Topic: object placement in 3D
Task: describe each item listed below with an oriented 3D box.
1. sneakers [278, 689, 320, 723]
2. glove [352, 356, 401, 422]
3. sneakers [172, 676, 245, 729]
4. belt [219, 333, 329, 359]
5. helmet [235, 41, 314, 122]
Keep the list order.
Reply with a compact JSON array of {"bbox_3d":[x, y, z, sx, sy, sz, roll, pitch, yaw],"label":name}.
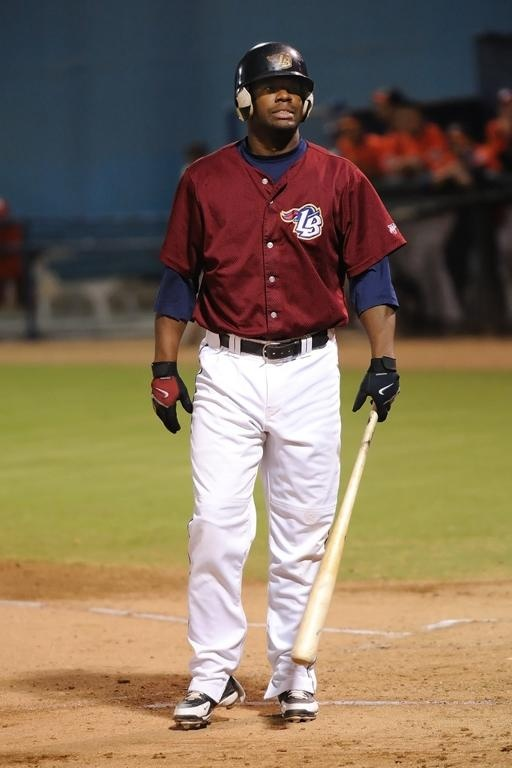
[{"bbox_3d":[0.099,0.739,2.336,0.055,0.060,0.135,0,-19,-2],"label":"sneakers"},{"bbox_3d":[0.292,0.016,2.413,0.082,0.139,0.124,8,20,-15],"label":"glove"},{"bbox_3d":[-0.114,0.733,2.351,0.072,0.081,0.187,0,0,29],"label":"sneakers"},{"bbox_3d":[0.040,-0.086,2.321,0.247,0.061,0.071,0,10,-3],"label":"belt"},{"bbox_3d":[0.030,-0.729,2.443,0.185,0.156,0.211,0,-3,-17],"label":"helmet"}]
